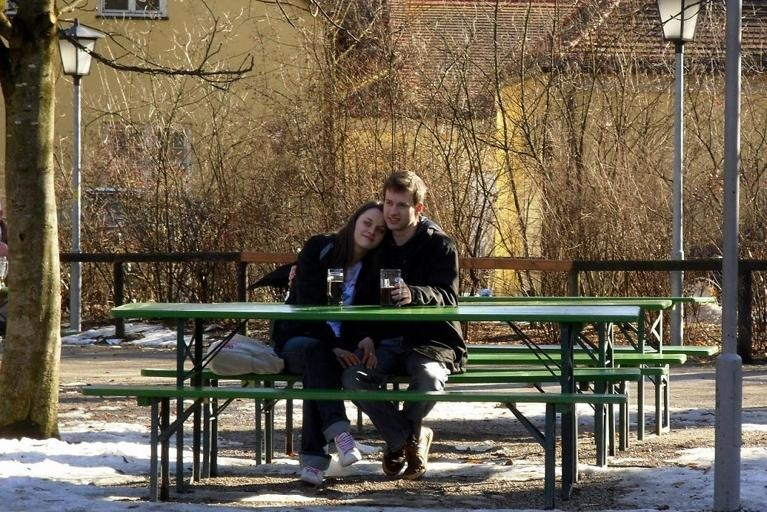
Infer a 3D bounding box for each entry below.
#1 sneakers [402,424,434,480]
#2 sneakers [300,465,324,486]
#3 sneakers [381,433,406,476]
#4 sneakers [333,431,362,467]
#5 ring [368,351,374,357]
[{"bbox_3d":[0.337,1.940,15.710,0.196,0.585,0.246,-2,-25,40],"label":"sneakers"},{"bbox_3d":[-0.715,2.111,15.561,0.302,0.133,0.111,15,-5,10],"label":"sneakers"},{"bbox_3d":[0.086,1.950,15.707,0.156,0.441,0.173,1,4,3],"label":"sneakers"},{"bbox_3d":[-0.360,1.856,15.534,0.241,0.337,0.230,-1,-2,-3],"label":"sneakers"},{"bbox_3d":[-0.132,0.956,15.774,0.073,0.036,0.027,-1,-2,-2],"label":"ring"}]
